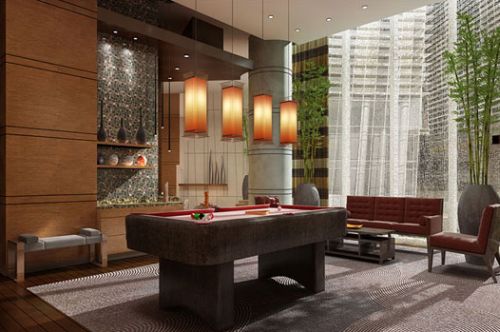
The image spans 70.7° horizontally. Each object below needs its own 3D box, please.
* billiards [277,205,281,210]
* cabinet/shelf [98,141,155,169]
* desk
[{"bbox_3d":[0.516,0.716,6.125,0.051,0.043,0.051,-13,-28,40],"label":"billiards"},{"bbox_3d":[-2.736,-0.259,7.718,1.152,0.690,0.428,-9,16,-35],"label":"cabinet/shelf"},{"bbox_3d":[-0.190,1.288,5.344,2.796,1.491,1.301,-8,15,-32],"label":"desk"}]
